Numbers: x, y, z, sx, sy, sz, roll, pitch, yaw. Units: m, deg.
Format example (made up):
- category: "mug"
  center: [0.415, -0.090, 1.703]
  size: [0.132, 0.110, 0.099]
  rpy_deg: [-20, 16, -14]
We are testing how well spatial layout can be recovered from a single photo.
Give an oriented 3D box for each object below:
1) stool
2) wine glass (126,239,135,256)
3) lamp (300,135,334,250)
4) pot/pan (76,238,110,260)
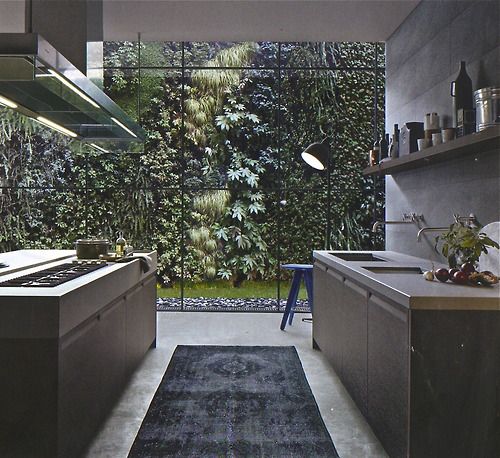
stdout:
- category: "stool"
  center: [0.511, 0.738, 4.876]
  size: [0.334, 0.728, 0.373]
  rpy_deg: [1, 3, 11]
- category: "wine glass"
  center: [-1.188, 0.172, 4.378]
  size: [0.103, 0.222, 0.116]
  rpy_deg: [0, 0, -8]
- category: "lamp"
  center: [0.717, -0.344, 5.015]
  size: [0.401, 1.284, 2.362]
  rpy_deg: [1, 3, 10]
- category: "pot/pan"
  center: [-1.235, 0.130, 3.504]
  size: [0.157, 0.125, 0.173]
  rpy_deg: [2, 2, 8]
